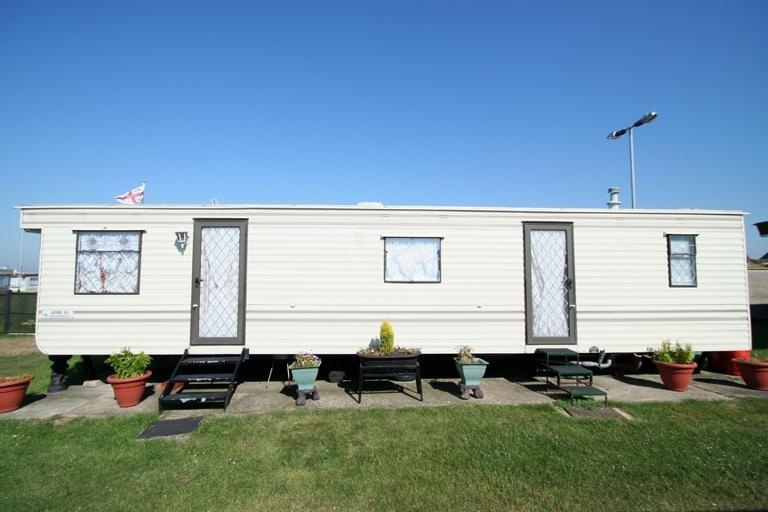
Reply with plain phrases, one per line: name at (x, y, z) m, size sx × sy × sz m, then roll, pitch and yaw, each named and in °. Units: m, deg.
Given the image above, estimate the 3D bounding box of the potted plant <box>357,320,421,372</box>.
potted plant at (0.004, 1.867, 11.156) m, size 1.436 × 0.860 × 0.844 m, roll 6°, pitch 0°, yaw -36°

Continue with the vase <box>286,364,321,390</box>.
vase at (-1.662, 2.459, 10.835) m, size 0.639 × 0.396 × 0.504 m, roll 0°, pitch 0°, yaw 2°

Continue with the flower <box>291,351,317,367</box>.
flower at (-1.632, 2.120, 10.803) m, size 0.383 × 0.139 × 0.334 m, roll 0°, pitch -4°, yaw 24°

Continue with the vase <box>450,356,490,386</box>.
vase at (1.836, 2.378, 10.831) m, size 0.740 × 0.437 × 0.540 m, roll 0°, pitch -9°, yaw -3°

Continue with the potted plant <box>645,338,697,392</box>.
potted plant at (6.334, 2.387, 11.434) m, size 1.136 × 1.118 × 1.003 m, roll 3°, pitch -14°, yaw -3°

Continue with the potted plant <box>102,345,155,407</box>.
potted plant at (-5.137, 2.496, 10.815) m, size 1.342 × 1.206 × 1.049 m, roll -1°, pitch 0°, yaw -4°

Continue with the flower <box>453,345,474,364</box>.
flower at (1.709, 2.083, 11.051) m, size 0.393 × 0.235 × 0.283 m, roll 1°, pitch -7°, yaw 4°
